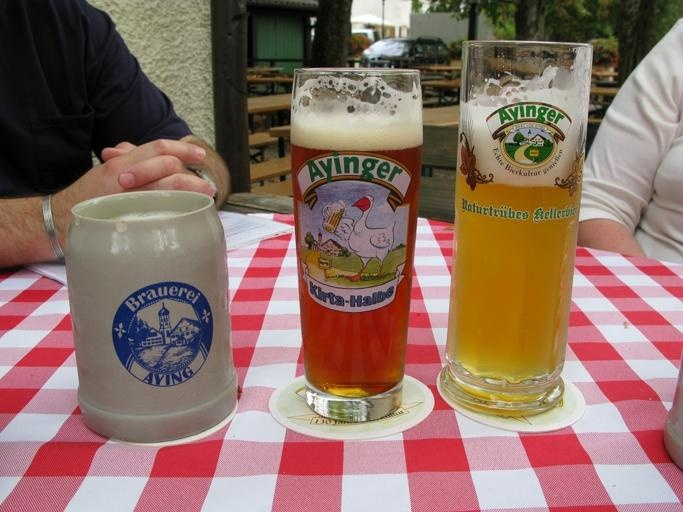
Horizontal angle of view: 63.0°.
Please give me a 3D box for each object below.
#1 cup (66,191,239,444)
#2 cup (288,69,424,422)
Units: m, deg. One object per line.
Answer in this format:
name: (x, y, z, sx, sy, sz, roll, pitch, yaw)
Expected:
cup: (-0.225, 0.080, 0.661, 0.172, 0.263, 0.126, -2, 26, -5)
cup: (0.020, -0.012, 0.694, 0.149, 0.410, 0.172, -1, 26, -2)
